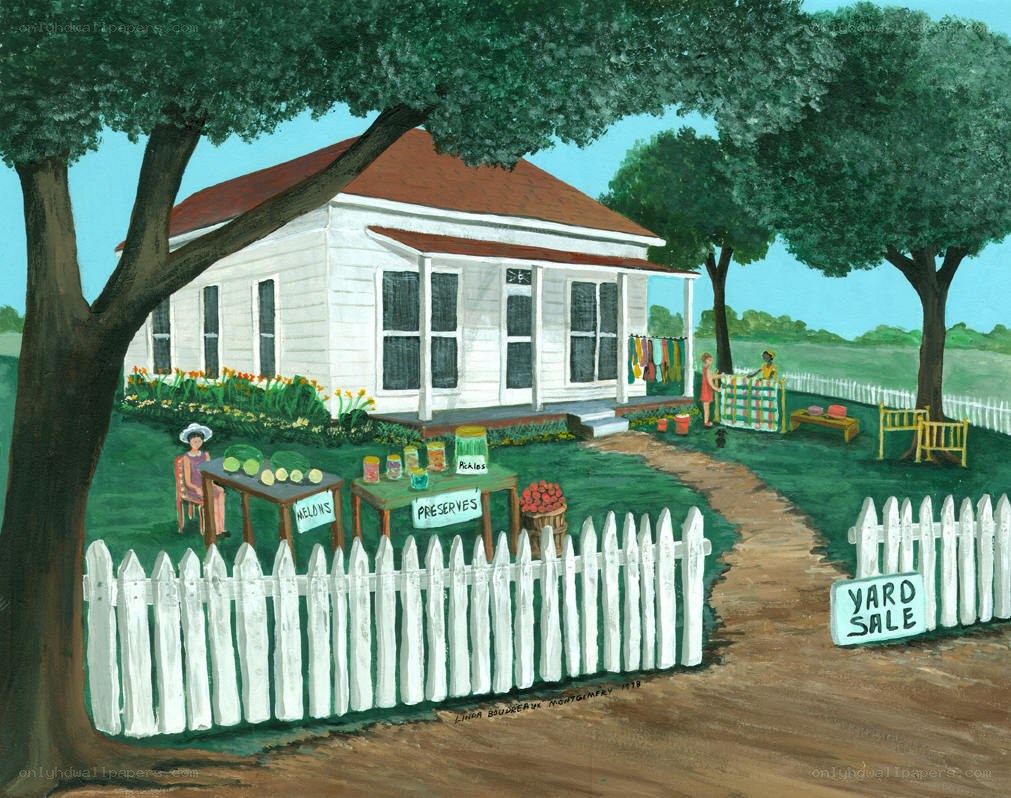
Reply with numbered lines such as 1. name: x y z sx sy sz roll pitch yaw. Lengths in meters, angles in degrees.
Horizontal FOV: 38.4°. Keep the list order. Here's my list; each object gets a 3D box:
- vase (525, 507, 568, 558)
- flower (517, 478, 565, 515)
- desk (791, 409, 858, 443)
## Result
1. vase: 0.455 1.512 16.595 0.469 0.523 0.550 -1 -1 -7
2. flower: 0.394 1.124 16.561 0.372 0.171 0.398 -6 9 -14
3. desk: 5.655 0.451 25.960 1.135 0.598 1.581 1 0 17
